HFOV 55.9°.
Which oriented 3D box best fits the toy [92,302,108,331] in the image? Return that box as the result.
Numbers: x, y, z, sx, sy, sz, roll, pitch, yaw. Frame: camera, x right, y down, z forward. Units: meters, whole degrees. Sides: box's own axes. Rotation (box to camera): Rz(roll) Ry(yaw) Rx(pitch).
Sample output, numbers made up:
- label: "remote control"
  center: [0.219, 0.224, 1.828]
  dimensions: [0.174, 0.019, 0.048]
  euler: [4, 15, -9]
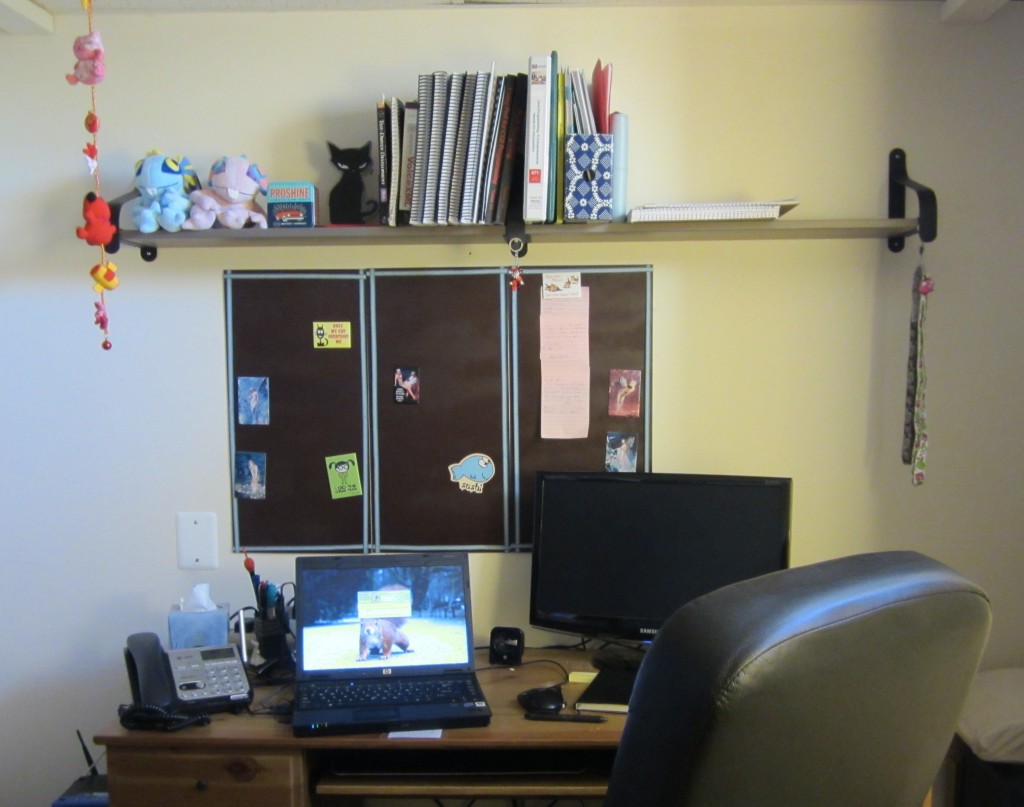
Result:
- label: "toy"
  center: [-1.190, -0.255, 2.765]
  dimensions: [0.048, 0.091, 0.027]
  euler: [-11, 0, -22]

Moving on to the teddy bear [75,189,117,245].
- label: "teddy bear"
  center: [-1.137, -0.498, 2.641]
  dimensions: [0.089, 0.138, 0.097]
  euler: [7, -2, -20]

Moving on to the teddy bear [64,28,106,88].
- label: "teddy bear"
  center: [-1.103, -0.883, 2.475]
  dimensions: [0.081, 0.145, 0.126]
  euler: [-4, 6, -21]

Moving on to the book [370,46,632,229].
- label: "book"
  center: [-0.025, -0.691, 2.605]
  dimensions: [0.669, 0.453, 0.248]
  euler: [-2, 6, -7]

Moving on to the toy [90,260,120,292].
- label: "toy"
  center: [-1.127, -0.357, 2.655]
  dimensions: [0.052, 0.077, 0.119]
  euler: [-3, 6, -16]

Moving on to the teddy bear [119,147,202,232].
- label: "teddy bear"
  center: [-1.014, -0.584, 2.733]
  dimensions: [0.233, 0.222, 0.233]
  euler: [-2, 6, -4]

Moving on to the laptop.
- label: "laptop"
  center: [-0.340, 0.583, 2.567]
  dimensions: [0.436, 0.334, 0.417]
  euler: [-1, -5, -6]
